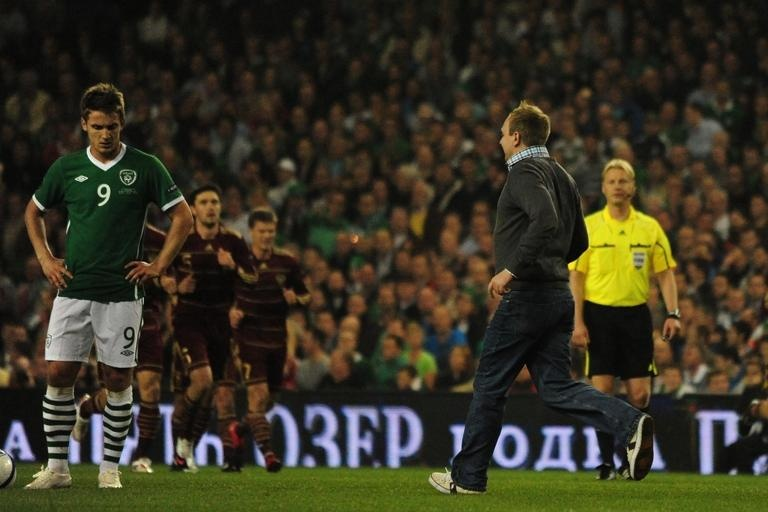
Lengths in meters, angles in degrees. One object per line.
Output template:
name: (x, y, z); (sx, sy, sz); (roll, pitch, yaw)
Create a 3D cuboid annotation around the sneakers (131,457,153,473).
sneakers: (-3.039, 2.622, 17.097); (0.259, 0.235, 0.527); (4, -15, -11)

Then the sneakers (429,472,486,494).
sneakers: (0.807, 2.537, 15.293); (0.613, 0.263, 0.242); (10, 7, 24)

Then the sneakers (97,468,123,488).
sneakers: (-3.128, 2.559, 15.570); (0.270, 0.217, 0.235); (4, -16, -10)

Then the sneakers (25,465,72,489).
sneakers: (-3.890, 2.533, 15.498); (0.621, 0.270, 0.209); (2, -5, -3)
